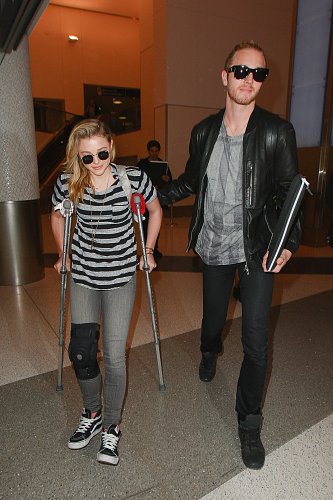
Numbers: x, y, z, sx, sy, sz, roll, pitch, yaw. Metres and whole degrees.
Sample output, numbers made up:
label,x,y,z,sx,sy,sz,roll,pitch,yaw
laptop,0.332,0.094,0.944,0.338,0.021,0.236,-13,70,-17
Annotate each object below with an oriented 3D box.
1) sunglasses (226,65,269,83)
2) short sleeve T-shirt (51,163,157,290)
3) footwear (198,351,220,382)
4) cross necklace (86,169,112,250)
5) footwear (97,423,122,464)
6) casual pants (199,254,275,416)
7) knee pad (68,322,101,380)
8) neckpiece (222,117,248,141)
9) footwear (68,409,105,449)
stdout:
label,x,y,z,sx,sy,sz,roll,pitch,yaw
sunglasses,0.393,-0.853,1.794,0.196,0.089,0.105,2,11,8
short sleeve T-shirt,-0.290,-0.129,1.778,0.472,0.629,0.245,5,33,-2
footwear,0.289,0.742,2.519,0.087,0.176,0.263,5,55,6
cross necklace,-0.318,-0.174,1.703,0.098,0.374,0.015,4,-6,2
footwear,-0.271,0.931,1.762,0.066,0.098,0.211,6,-4,-1
casual pants,0.374,0.438,2.067,0.220,0.775,0.679,-3,11,-19
knee pad,-0.387,0.493,1.734,0.143,0.293,0.110,-2,10,-13
neckpiece,0.351,-0.640,1.917,0.082,0.128,0.048,4,24,19
footwear,-0.393,0.921,1.916,0.088,0.178,0.268,-2,-7,15
